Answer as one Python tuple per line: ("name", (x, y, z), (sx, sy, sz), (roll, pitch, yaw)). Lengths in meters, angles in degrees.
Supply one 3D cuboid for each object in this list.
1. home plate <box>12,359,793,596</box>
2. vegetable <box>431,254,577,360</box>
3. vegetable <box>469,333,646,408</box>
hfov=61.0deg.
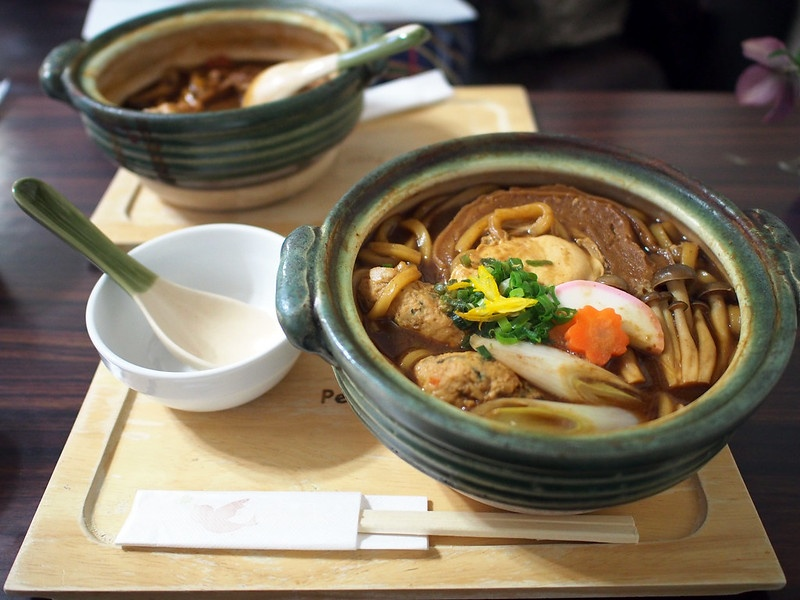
("home plate", (-0.235, 0.615, 2.104), (1.435, 0.045, 0.676), (1, 39, 0))
("vegetable", (0.301, 0.016, 1.949), (0.338, 0.096, 0.289), (10, 33, 7))
("vegetable", (0.448, 0.210, 1.961), (0.581, 0.124, 0.125), (12, 77, 7))
